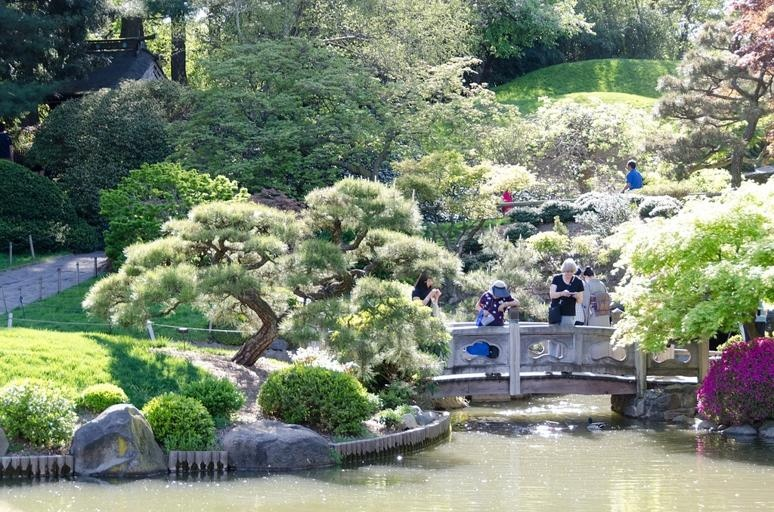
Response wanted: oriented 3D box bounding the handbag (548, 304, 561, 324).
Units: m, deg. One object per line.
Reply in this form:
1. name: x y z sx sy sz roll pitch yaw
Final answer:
1. handbag: 5.815 1.956 61.550 0.612 0.779 0.316 -2 -11 10

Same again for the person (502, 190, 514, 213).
1. person: 5.227 -2.459 77.149 0.407 0.904 0.598 -1 0 -7

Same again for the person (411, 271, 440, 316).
1. person: 1.289 1.183 59.839 0.433 0.538 1.345 13 -21 13

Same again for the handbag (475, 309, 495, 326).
1. handbag: 3.336 2.116 61.426 0.613 0.630 0.469 -46 -6 -5
